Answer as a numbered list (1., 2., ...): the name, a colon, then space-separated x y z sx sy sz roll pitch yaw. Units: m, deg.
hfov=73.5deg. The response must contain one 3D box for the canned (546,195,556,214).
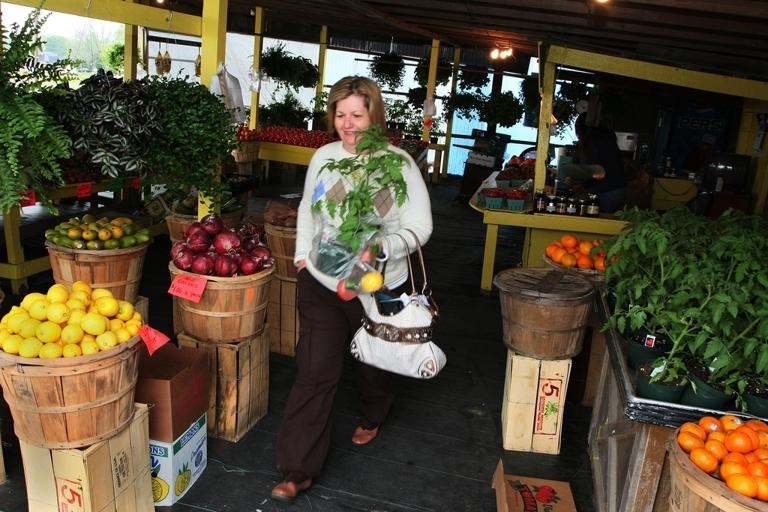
1. canned: 1.828 -0.558 5.604 0.108 0.160 0.070 7 14 14

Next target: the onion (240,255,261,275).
1. onion: -0.916 0.067 3.548 0.117 0.132 0.112 -13 60 -25

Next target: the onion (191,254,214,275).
1. onion: -1.209 0.043 3.462 0.129 0.127 0.123 41 25 20

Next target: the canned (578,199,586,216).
1. canned: 2.146 -0.520 5.556 0.091 0.149 0.107 5 14 9

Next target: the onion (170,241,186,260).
1. onion: -1.418 -0.032 3.599 0.113 0.076 0.137 4 58 12

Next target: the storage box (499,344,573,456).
1. storage box: 1.085 1.049 3.693 0.444 0.726 0.211 7 15 15

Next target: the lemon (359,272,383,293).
1. lemon: -0.067 0.150 2.806 0.112 0.113 0.085 -8 -2 4

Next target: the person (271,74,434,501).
1. person: -0.233 0.186 3.239 0.997 2.526 0.843 -2 15 -20

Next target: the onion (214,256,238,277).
1. onion: -1.053 0.051 3.456 0.139 0.148 0.120 -10 23 -28

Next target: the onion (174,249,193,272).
1. onion: -1.363 0.019 3.542 0.124 0.129 0.128 -17 34 -37

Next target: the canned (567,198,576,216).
1. canned: 2.039 -0.529 5.559 0.129 0.158 0.085 7 15 13

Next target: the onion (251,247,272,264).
1. onion: -0.855 -0.003 3.606 0.104 0.073 0.125 25 7 -25

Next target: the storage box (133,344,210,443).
1. storage box: -1.301 0.904 3.230 0.402 0.553 0.368 1 24 -6

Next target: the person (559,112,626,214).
1. person: 2.758 -1.181 6.675 0.677 1.381 0.732 7 15 7

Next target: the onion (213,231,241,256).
1. onion: -1.094 -0.092 3.560 0.162 0.163 0.150 3 -17 -7

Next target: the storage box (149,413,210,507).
1. storage box: -1.251 1.248 3.207 0.148 0.425 0.428 10 16 25

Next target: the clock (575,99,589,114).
1. clock: 2.686 -2.019 6.965 0.150 0.170 0.412 8 15 19

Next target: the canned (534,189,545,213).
1. canned: 1.719 -0.593 5.651 0.133 0.197 0.228 7 15 16

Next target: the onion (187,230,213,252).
1. onion: -1.300 -0.100 3.646 0.147 0.130 0.119 -9 -17 21

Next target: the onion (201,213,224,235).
1. onion: -1.252 -0.224 3.788 0.145 0.145 0.147 15 58 -6

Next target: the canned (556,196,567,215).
1. canned: 1.926 -0.545 5.575 0.109 0.162 0.077 7 15 16

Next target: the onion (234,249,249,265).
1. onion: -0.975 0.000 3.519 0.089 0.067 0.089 1 0 11
